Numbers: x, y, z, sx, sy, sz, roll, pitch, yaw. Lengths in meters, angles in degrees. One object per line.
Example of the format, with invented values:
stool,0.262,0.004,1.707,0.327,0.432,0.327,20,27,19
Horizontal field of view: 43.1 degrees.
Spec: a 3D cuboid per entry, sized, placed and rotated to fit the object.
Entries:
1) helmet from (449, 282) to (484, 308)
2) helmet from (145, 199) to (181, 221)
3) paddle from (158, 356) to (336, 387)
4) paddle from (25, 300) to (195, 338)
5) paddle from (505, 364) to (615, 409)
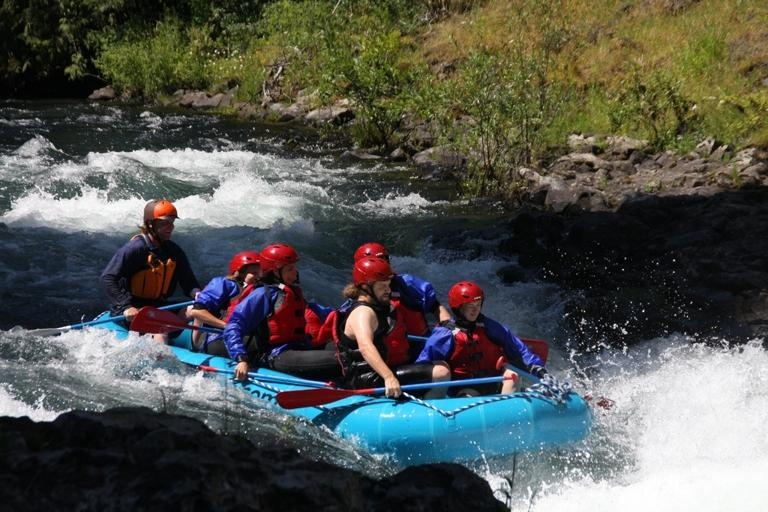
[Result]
helmet,1.394,0.677,17.195,0.555,0.430,0.412,-31,-19,33
helmet,-4.198,-0.862,18.292,0.518,0.297,0.379,7,0,5
paddle,-2.325,2.068,17.333,2.838,0.297,0.190,7,-1,15
paddle,-5.142,1.207,18.330,2.754,0.379,0.154,-10,12,-9
paddle,3.126,2.363,17.468,1.581,0.282,0.309,17,38,6
